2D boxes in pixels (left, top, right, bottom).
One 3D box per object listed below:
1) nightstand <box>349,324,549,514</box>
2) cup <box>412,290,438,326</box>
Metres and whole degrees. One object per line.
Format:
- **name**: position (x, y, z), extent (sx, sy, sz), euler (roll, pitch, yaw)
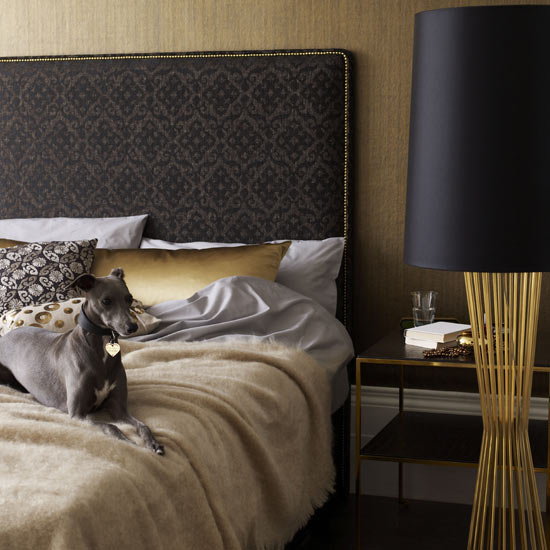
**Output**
- **nightstand**: position (0.668, 0.574, 2.113), extent (0.575, 0.703, 0.496), euler (2, 16, 11)
- **cup**: position (0.653, 0.144, 2.445), extent (0.099, 0.174, 0.103), euler (-3, 18, 1)
